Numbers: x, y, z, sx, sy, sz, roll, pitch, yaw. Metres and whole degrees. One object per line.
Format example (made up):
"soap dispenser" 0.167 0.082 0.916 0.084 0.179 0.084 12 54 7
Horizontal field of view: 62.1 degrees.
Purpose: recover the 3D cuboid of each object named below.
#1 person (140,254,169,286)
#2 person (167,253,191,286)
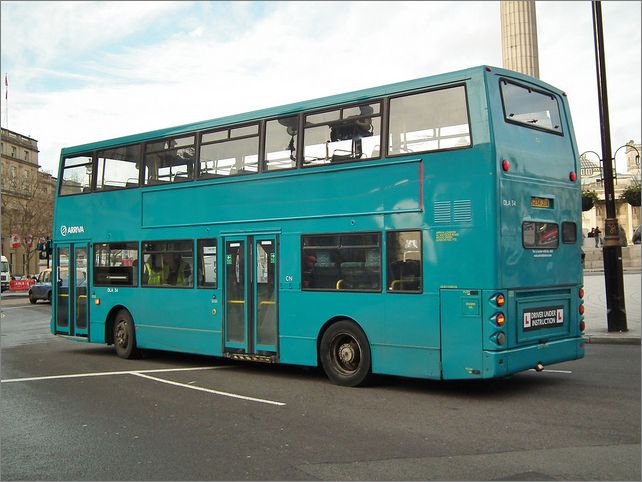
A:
"person" -3.934 0.660 12.696 0.678 0.741 0.173 3 3 39
"person" -3.193 0.682 12.150 0.490 0.748 0.730 0 6 -24
